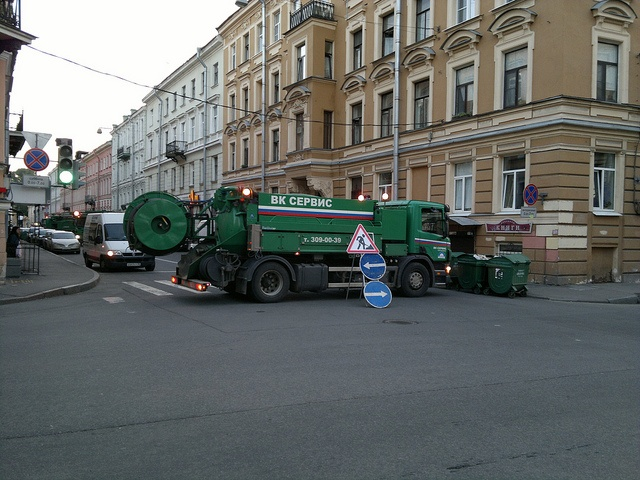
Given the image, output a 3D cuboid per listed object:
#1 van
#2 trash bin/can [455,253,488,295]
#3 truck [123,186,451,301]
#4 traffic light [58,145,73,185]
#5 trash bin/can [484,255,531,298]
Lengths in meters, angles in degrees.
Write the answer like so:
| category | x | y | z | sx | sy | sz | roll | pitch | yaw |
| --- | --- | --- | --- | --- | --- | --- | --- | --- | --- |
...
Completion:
| category | x | y | z | sx | sy | sz | roll | pitch | yaw |
| --- | --- | --- | --- | --- | --- | --- | --- | --- | --- |
| van | -8.841 | 0.158 | 25.509 | 2.612 | 2.763 | 4.902 | 0 | -2 | -30 |
| trash bin/can | 4.963 | 1.011 | 18.812 | 0.685 | 1.193 | 1.039 | 2 | 2 | -31 |
| truck | -0.679 | -0.019 | 16.725 | 9.308 | 3.448 | 3.361 | 0 | 2 | -29 |
| traffic light | -6.066 | -1.781 | 13.760 | 0.332 | 0.957 | 0.467 | -1 | 3 | -26 |
| trash bin/can | 5.758 | 1.079 | 18.001 | 0.951 | 1.268 | 0.949 | 6 | 3 | 44 |
